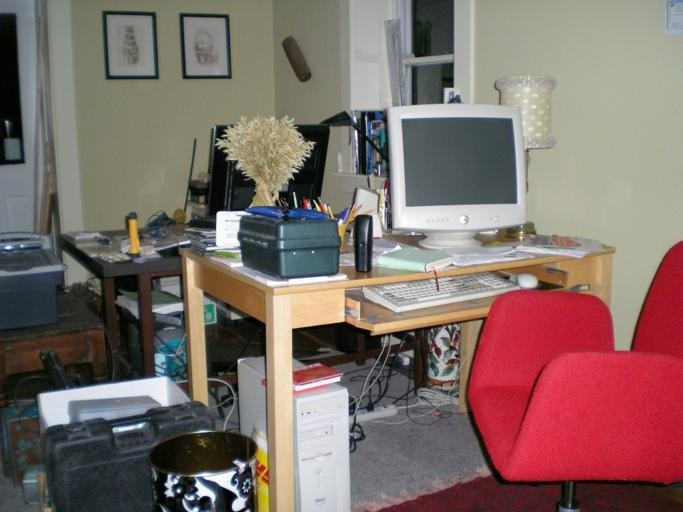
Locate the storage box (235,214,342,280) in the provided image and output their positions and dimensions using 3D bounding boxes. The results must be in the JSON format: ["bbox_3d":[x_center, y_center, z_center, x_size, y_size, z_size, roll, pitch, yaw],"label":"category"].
[{"bbox_3d":[-0.169,0.023,1.995,0.209,0.158,0.312,-4,12,-31],"label":"storage box"}]

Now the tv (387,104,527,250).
[{"bbox_3d":[0.474,-0.338,2.383,0.539,0.552,0.297,-3,11,-11],"label":"tv"}]

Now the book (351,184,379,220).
[{"bbox_3d":[0.110,-0.251,2.678,0.149,0.145,0.036,-4,1,-35],"label":"book"}]

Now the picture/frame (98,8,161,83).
[{"bbox_3d":[-1.719,-1.699,4.607,0.549,0.668,0.042,-7,16,-27],"label":"picture/frame"}]

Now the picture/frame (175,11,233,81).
[{"bbox_3d":[-1.175,-1.773,4.826,0.542,0.634,0.040,-8,15,-27],"label":"picture/frame"}]

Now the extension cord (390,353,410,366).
[{"bbox_3d":[0.359,0.643,3.593,0.117,0.081,0.060,9,12,43],"label":"extension cord"}]

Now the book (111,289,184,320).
[{"bbox_3d":[-1.037,0.249,3.121,0.212,0.084,0.224,-6,17,-44],"label":"book"}]

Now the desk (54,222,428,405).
[{"bbox_3d":[-0.162,0.115,2.316,0.801,0.591,1.171,-7,13,-38],"label":"desk"}]

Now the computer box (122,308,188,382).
[{"bbox_3d":[-0.979,0.451,3.071,0.237,0.443,0.323,-14,20,-37],"label":"computer box"}]
